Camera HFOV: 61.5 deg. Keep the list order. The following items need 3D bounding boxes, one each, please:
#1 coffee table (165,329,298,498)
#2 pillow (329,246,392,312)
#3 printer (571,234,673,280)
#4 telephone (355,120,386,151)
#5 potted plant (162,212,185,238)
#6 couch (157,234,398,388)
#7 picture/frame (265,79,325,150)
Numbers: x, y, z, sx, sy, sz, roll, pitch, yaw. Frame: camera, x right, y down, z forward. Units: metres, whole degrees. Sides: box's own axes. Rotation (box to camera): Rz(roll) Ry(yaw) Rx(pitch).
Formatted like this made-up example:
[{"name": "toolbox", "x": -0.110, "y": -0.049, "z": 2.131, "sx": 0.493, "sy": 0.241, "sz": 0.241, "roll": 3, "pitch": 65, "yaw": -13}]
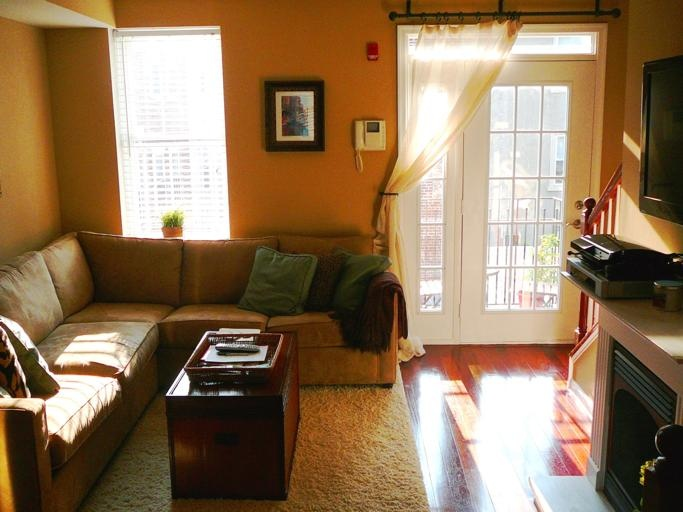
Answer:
[{"name": "coffee table", "x": -0.580, "y": 0.857, "z": 3.256, "sx": 0.627, "sy": 0.708, "sz": 0.683, "roll": 1, "pitch": 12, "yaw": 0}, {"name": "pillow", "x": 0.121, "y": 0.196, "z": 4.138, "sx": 0.123, "sy": 0.402, "sz": 0.407, "roll": 23, "pitch": -8, "yaw": -35}, {"name": "printer", "x": 1.372, "y": -0.005, "z": 2.771, "sx": 0.367, "sy": 0.144, "sz": 0.426, "roll": 1, "pitch": 12, "yaw": -1}, {"name": "telephone", "x": 0.219, "y": -0.972, "z": 4.593, "sx": 0.236, "sy": 0.241, "sz": 0.072, "roll": 1, "pitch": 6, "yaw": -1}, {"name": "potted plant", "x": -1.356, "y": -0.240, "z": 4.744, "sx": 0.197, "sy": 0.232, "sz": 0.187, "roll": 0, "pitch": -5, "yaw": -8}, {"name": "couch", "x": -0.531, "y": 0.082, "z": 4.432, "sx": 1.783, "sy": 1.036, "sz": 0.997, "roll": 0, "pitch": 6, "yaw": 1}, {"name": "picture/frame", "x": -0.372, "y": -1.168, "z": 4.615, "sx": 0.512, "sy": 0.609, "sz": 0.039, "roll": 0, "pitch": 6, "yaw": -3}]
